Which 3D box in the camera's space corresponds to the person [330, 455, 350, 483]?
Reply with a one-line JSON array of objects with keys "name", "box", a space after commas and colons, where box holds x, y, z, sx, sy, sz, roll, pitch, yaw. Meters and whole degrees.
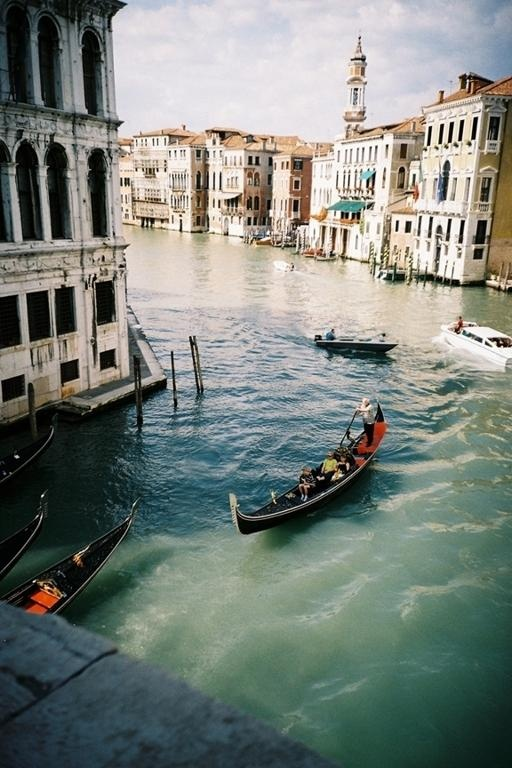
[{"name": "person", "box": [2.503, 2.560, 16.743, 0.316, 0.370, 0.956, 18, 53, 20]}]

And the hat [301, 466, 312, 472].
[{"name": "hat", "box": [1.414, 2.405, 15.892, 0.230, 0.275, 0.292, 1, -4, 1]}]

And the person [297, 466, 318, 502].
[{"name": "person", "box": [1.433, 2.685, 15.890, 0.499, 0.766, 1.394, 2, 13, 9]}]

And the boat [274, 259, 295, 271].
[{"name": "boat", "box": [3.119, -13.103, 62.923, 1.886, 0.935, 3.076, -1, 13, -5]}]

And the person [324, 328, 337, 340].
[{"name": "person", "box": [4.584, -3.101, 34.710, 0.462, 0.453, 1.098, -20, -2, 12]}]

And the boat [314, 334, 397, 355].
[{"name": "boat", "box": [5.703, -2.323, 32.909, 4.525, 1.075, 1.632, 10, 29, 18]}]

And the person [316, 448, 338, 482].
[{"name": "person", "box": [2.052, 2.467, 16.749, 0.536, 0.791, 0.815, 12, 34, 36]}]
